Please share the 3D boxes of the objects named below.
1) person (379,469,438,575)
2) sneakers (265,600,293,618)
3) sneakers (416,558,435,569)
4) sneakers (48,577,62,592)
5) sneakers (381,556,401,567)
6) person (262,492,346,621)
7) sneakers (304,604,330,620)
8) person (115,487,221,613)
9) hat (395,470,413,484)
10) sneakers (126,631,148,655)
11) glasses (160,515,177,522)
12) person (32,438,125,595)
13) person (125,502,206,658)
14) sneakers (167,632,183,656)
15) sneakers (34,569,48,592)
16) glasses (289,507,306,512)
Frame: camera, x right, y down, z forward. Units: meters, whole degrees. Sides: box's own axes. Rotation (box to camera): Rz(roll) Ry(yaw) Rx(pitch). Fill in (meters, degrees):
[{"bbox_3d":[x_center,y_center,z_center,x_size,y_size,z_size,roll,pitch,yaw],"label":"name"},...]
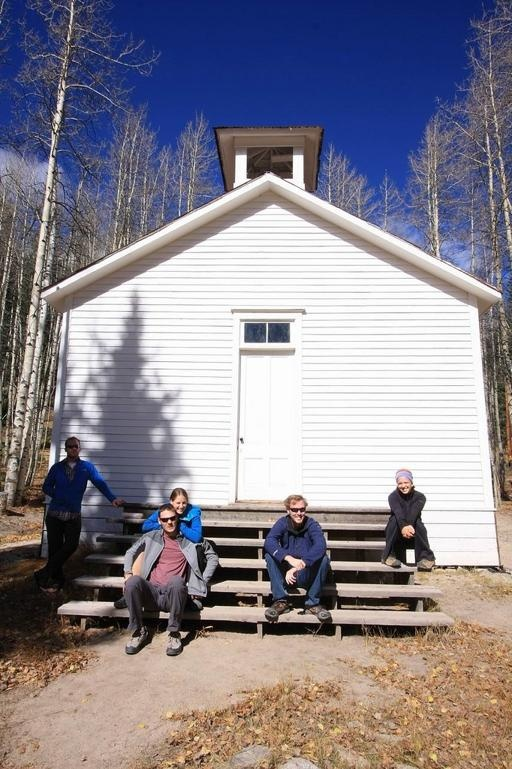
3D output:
[{"bbox_3d":[1.752,1.568,6.572,0.543,1.099,0.609,-2,-7,17],"label":"person"},{"bbox_3d":[0.205,2.162,5.345,0.092,0.124,0.258,-7,-22,31],"label":"sneakers"},{"bbox_3d":[1.870,2.029,6.260,0.176,0.151,0.189,-2,-7,14],"label":"sneakers"},{"bbox_3d":[-2.342,2.340,6.541,0.150,0.125,0.246,0,-7,-4],"label":"sneakers"},{"bbox_3d":[1.499,2.004,6.302,0.079,0.092,0.223,2,-20,-12],"label":"sneakers"},{"bbox_3d":[0.387,1.781,5.468,0.626,0.954,0.478,-1,-6,4],"label":"person"},{"bbox_3d":[0.588,2.158,5.290,0.080,0.091,0.189,19,-20,-25],"label":"sneakers"},{"bbox_3d":[-0.824,1.626,5.759,0.511,1.029,0.456,2,-2,-25],"label":"person"},{"bbox_3d":[1.746,1.097,6.674,0.175,0.251,0.215,-6,-11,12],"label":"hat"},{"bbox_3d":[-1.058,2.300,4.962,0.086,0.110,0.249,4,5,7],"label":"sneakers"},{"bbox_3d":[-0.837,1.283,5.309,0.148,0.065,0.109,1,-7,-8],"label":"glasses"},{"bbox_3d":[-2.184,1.531,6.687,0.758,1.755,0.423,2,-7,-19],"label":"person"},{"bbox_3d":[-0.832,1.776,5.272,0.838,1.251,0.814,2,-7,-21],"label":"person"},{"bbox_3d":[-0.719,2.282,4.921,0.140,0.165,0.249,0,-7,-6],"label":"sneakers"},{"bbox_3d":[-2.466,2.248,6.454,0.130,0.247,0.232,2,-7,-20],"label":"sneakers"},{"bbox_3d":[0.394,1.230,5.471,0.142,0.054,0.066,0,-7,-1],"label":"glasses"}]
